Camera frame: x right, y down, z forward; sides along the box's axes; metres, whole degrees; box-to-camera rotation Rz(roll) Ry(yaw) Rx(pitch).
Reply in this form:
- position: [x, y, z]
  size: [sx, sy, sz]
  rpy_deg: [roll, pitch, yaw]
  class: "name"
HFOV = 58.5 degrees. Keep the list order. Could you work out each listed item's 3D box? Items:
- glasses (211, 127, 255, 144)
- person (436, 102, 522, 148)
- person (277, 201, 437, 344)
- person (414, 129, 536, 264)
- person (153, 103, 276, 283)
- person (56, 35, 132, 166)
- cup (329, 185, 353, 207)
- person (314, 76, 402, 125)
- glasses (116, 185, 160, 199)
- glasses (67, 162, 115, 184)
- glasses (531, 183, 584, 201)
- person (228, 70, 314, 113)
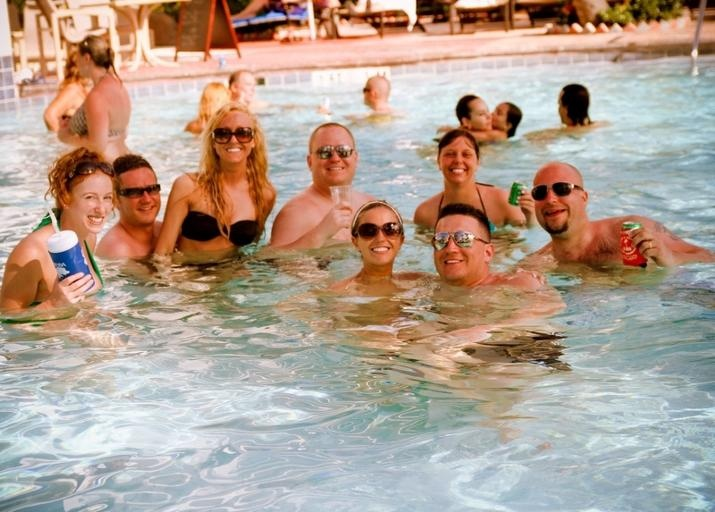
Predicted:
- position: [-1.033, -0.991, 5.323]
  size: [0.304, 0.133, 0.087]
  rpy_deg: [-6, 14, -16]
  class: "glasses"
- position: [1.778, -1.812, 8.979]
  size: [1.092, 0.321, 0.504]
  rpy_deg: [-11, 46, -4]
  class: "person"
- position: [0.084, -0.030, 4.553]
  size: [1.019, 0.536, 0.447]
  rpy_deg: [-8, -1, -37]
  class: "person"
- position: [1.048, -0.623, 5.955]
  size: [1.395, 0.800, 0.792]
  rpy_deg: [2, -1, 30]
  class: "person"
- position: [-1.258, -0.587, 5.385]
  size: [1.104, 1.359, 0.486]
  rpy_deg: [-18, 20, -42]
  class: "person"
- position: [-2.658, -1.551, 6.376]
  size: [0.741, 1.255, 0.738]
  rpy_deg: [-10, 16, -16]
  class: "person"
- position: [-0.121, -0.476, 4.949]
  size: [0.234, 0.131, 0.171]
  rpy_deg: [-1, 4, -1]
  class: "cup"
- position: [0.228, -2.602, 10.708]
  size: [0.820, 0.807, 0.821]
  rpy_deg: [2, 14, 23]
  class: "person"
- position: [-1.770, -0.523, 5.201]
  size: [0.339, 0.099, 0.129]
  rpy_deg: [-6, 12, -18]
  class: "glasses"
- position: [-1.713, -0.557, 4.093]
  size: [0.218, 0.051, 0.227]
  rpy_deg: [-25, -18, 36]
  class: "glasses"
- position: [1.473, -0.491, 4.804]
  size: [0.244, 0.048, 0.224]
  rpy_deg: [-3, -3, 33]
  class: "glasses"
- position: [-1.370, -2.570, 10.092]
  size: [1.582, 0.416, 0.545]
  rpy_deg: [-3, 21, -20]
  class: "person"
